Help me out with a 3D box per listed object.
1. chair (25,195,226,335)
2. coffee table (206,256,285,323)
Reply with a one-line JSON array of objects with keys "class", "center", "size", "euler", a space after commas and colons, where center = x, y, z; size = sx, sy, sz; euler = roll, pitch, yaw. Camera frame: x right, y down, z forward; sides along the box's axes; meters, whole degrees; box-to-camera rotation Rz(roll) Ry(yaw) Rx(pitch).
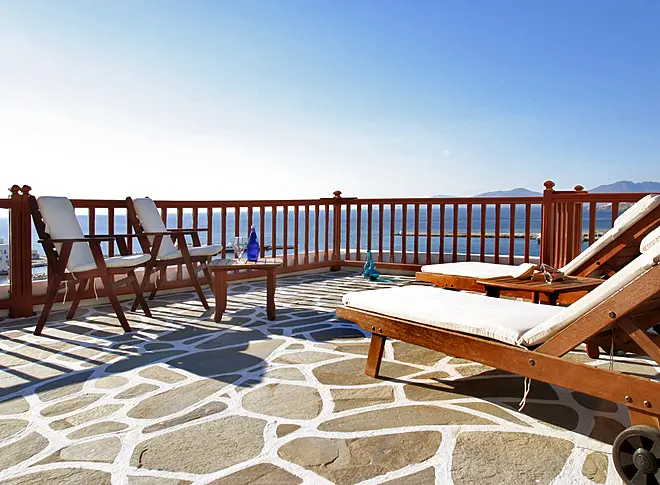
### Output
[{"class": "chair", "center": [-1.701, 0.143, 4.074], "size": [1.438, 1.328, 1.095], "euler": [0, 2, 6]}, {"class": "coffee table", "center": [-0.817, 0.425, 4.056], "size": [0.696, 0.450, 0.669], "euler": [0, 6, -5]}]
